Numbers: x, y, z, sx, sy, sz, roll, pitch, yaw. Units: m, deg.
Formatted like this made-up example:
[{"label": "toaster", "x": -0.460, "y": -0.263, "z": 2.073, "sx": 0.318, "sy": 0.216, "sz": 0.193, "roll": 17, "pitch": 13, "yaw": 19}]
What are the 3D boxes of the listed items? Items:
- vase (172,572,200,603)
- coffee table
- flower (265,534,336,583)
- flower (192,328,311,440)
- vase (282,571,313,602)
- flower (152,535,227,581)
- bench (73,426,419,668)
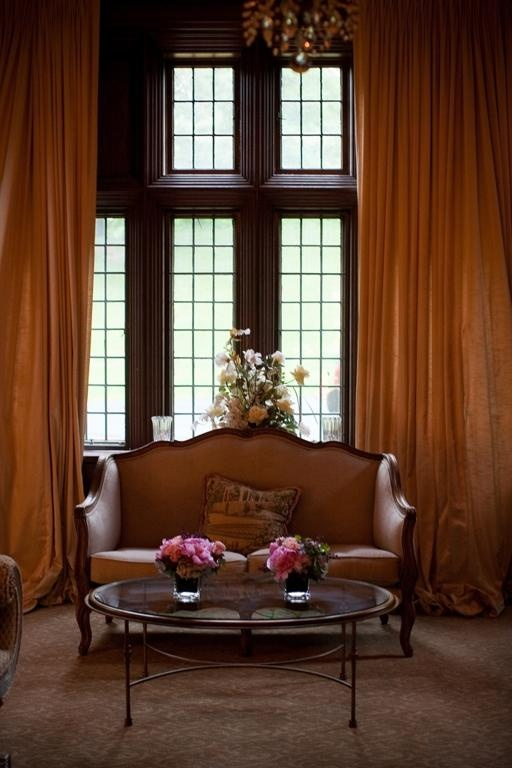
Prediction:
[{"label": "vase", "x": -0.246, "y": 0.738, "z": 2.622, "sx": 0.090, "sy": 0.183, "sz": 0.095, "roll": 0, "pitch": -2, "yaw": 1}, {"label": "coffee table", "x": -0.037, "y": 0.969, "z": 2.821, "sx": 1.122, "sy": 0.387, "sz": 1.122, "roll": 0, "pitch": -4, "yaw": 4}, {"label": "flower", "x": 0.150, "y": 0.636, "z": 2.654, "sx": 0.225, "sy": 0.153, "sz": 0.166, "roll": 2, "pitch": -5, "yaw": -25}, {"label": "flower", "x": 0.017, "y": -0.039, "z": 4.385, "sx": 0.628, "sy": 0.660, "sz": 0.616, "roll": -1, "pitch": -4, "yaw": 13}, {"label": "vase", "x": 0.148, "y": 0.727, "z": 2.620, "sx": 0.090, "sy": 0.118, "sz": 0.093, "roll": -1, "pitch": -8, "yaw": 9}, {"label": "flower", "x": -0.255, "y": 0.612, "z": 2.657, "sx": 0.157, "sy": 0.094, "sz": 0.159, "roll": 3, "pitch": -2, "yaw": -28}, {"label": "bench", "x": -0.044, "y": 0.786, "z": 3.751, "sx": 1.658, "sy": 1.076, "sz": 0.674, "roll": 0, "pitch": -4, "yaw": -2}]
